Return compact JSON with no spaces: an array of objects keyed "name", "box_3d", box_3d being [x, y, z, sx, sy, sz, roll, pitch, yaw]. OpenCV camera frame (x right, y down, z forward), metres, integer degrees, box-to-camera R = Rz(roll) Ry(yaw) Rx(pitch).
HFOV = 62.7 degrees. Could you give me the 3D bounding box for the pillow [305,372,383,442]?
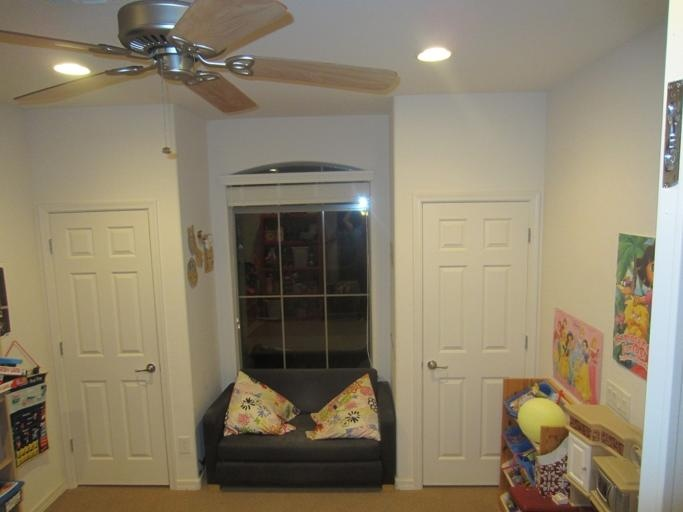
[{"name":"pillow","box_3d":[0.011,1.186,4.261,0.435,0.134,0.393,-26,39,14]}]
